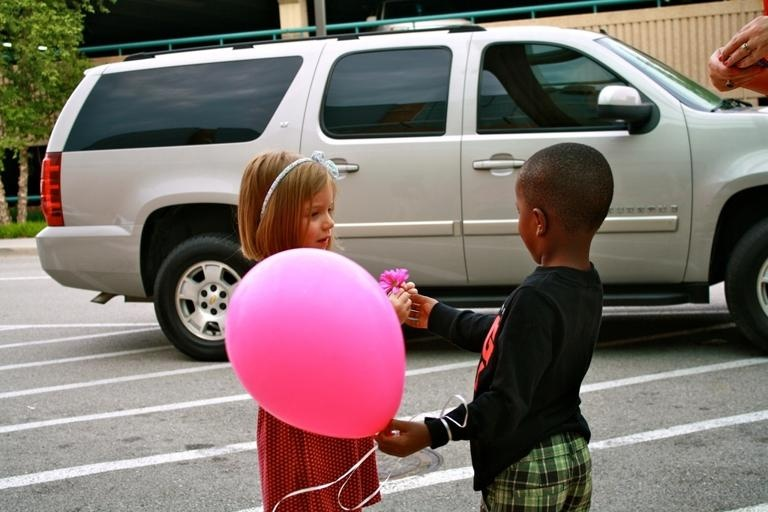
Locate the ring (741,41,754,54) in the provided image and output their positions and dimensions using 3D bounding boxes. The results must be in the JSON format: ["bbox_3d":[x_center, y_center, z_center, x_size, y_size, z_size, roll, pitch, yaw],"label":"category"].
[{"bbox_3d":[1.506,-0.853,2.811,0.040,0.054,0.020,13,-1,13],"label":"ring"}]

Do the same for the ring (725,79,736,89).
[{"bbox_3d":[1.466,-0.727,2.878,0.019,0.025,0.038,-34,17,21],"label":"ring"}]
